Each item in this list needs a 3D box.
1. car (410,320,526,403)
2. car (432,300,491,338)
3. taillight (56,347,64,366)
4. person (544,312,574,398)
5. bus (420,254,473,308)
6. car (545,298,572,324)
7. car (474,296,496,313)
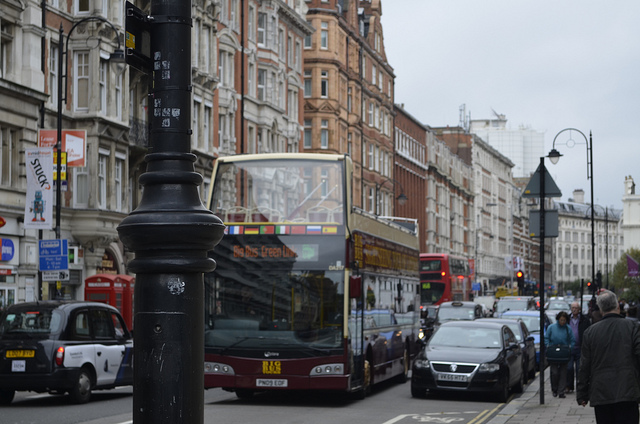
[{"bbox_3d":[4.503,4.500,36.182,3.353,2.546,2.717,-1,-9,6],"label":"car"},{"bbox_3d":[5.796,4.485,49.237,1.879,1.792,3.842,-1,0,13],"label":"car"},{"bbox_3d":[-7.174,3.932,32.521,0.084,0.356,0.331,10,-7,-36],"label":"taillight"},{"bbox_3d":[7.238,4.217,35.523,0.789,2.567,0.964,-3,-9,22],"label":"person"},{"bbox_3d":[6.611,3.712,64.333,1.888,2.813,5.537,-1,-5,18],"label":"bus"},{"bbox_3d":[10.407,4.247,51.369,1.320,1.219,2.301,-2,-12,14],"label":"car"},{"bbox_3d":[11.019,5.832,78.285,1.344,1.299,4.352,0,-2,10],"label":"car"}]
